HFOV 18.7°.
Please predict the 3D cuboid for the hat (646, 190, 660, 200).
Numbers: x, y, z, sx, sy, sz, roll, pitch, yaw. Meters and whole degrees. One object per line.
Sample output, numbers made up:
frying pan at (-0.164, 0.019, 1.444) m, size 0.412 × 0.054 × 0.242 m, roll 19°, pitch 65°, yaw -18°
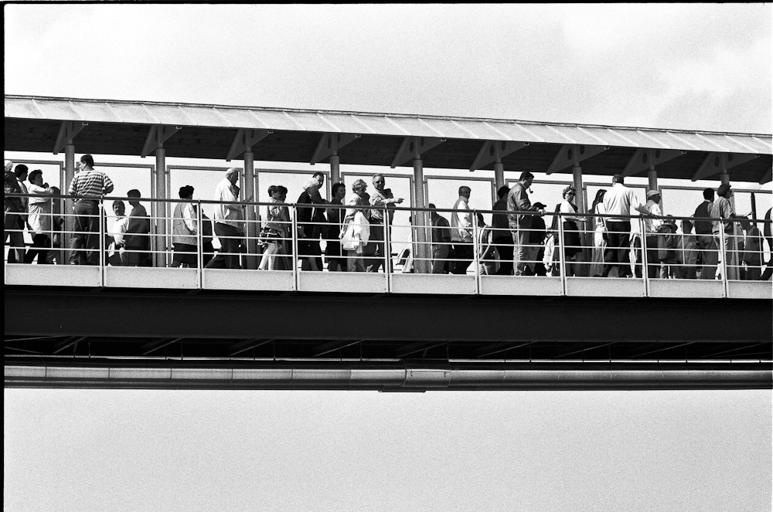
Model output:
hat at (4.741, -1.076, 41.925) m, size 0.236 × 0.124 × 0.185 m, roll -19°, pitch 0°, yaw 13°
